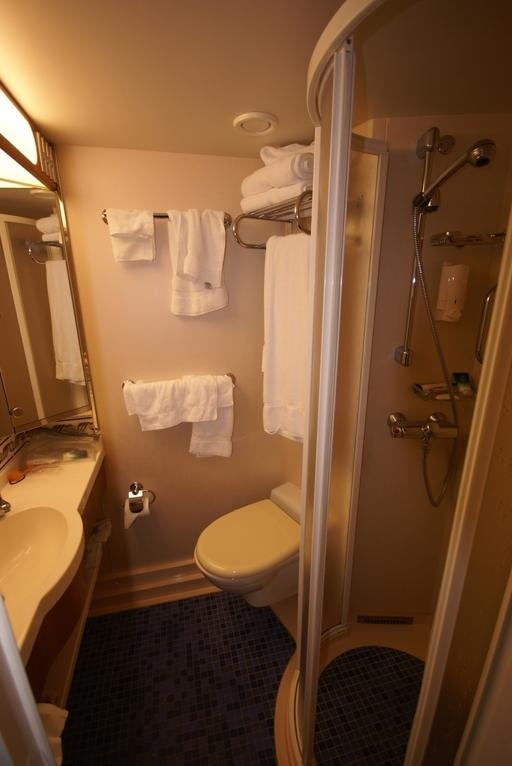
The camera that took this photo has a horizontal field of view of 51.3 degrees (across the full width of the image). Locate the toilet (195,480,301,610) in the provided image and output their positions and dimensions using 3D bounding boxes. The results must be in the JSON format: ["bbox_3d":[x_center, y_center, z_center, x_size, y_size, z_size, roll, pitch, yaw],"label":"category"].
[{"bbox_3d":[0.019,0.575,2.007,0.485,0.310,0.330,-14,22,-36],"label":"toilet"}]

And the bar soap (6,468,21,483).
[{"bbox_3d":[-0.772,0.294,1.700,0.044,0.028,0.080,-11,22,-26],"label":"bar soap"}]
